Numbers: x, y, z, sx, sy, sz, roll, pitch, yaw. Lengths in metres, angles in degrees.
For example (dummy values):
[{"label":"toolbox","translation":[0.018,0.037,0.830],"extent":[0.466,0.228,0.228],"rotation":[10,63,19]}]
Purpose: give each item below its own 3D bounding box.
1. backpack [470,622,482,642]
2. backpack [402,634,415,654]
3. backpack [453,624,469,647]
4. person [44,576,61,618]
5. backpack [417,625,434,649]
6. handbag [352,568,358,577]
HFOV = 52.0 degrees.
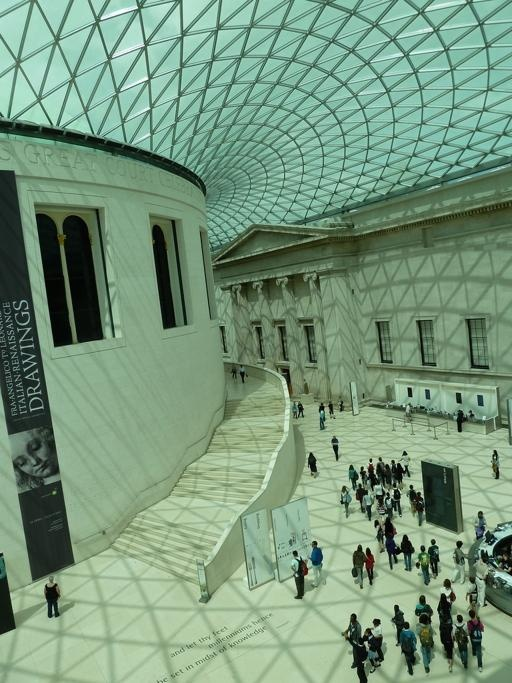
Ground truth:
[{"label":"backpack","translation":[4.137,5.458,9.912],"extent":[0.216,0.305,0.314],"rotation":[1,0,5]},{"label":"backpack","translation":[2.875,5.727,10.009],"extent":[0.251,0.409,0.250],"rotation":[-3,4,16]},{"label":"backpack","translation":[3.941,5.630,10.140],"extent":[0.232,0.429,0.371],"rotation":[-3,4,16]},{"label":"person","translation":[-4.947,6.154,12.726],"extent":[0.276,1.220,0.634],"rotation":[-6,4,-24]},{"label":"backpack","translation":[3.210,5.590,10.007],"extent":[0.274,0.483,0.376],"rotation":[-3,4,7]},{"label":"handbag","translation":[2.614,6.118,13.954],"extent":[0.143,0.255,0.177],"rotation":[-3,4,10]}]
